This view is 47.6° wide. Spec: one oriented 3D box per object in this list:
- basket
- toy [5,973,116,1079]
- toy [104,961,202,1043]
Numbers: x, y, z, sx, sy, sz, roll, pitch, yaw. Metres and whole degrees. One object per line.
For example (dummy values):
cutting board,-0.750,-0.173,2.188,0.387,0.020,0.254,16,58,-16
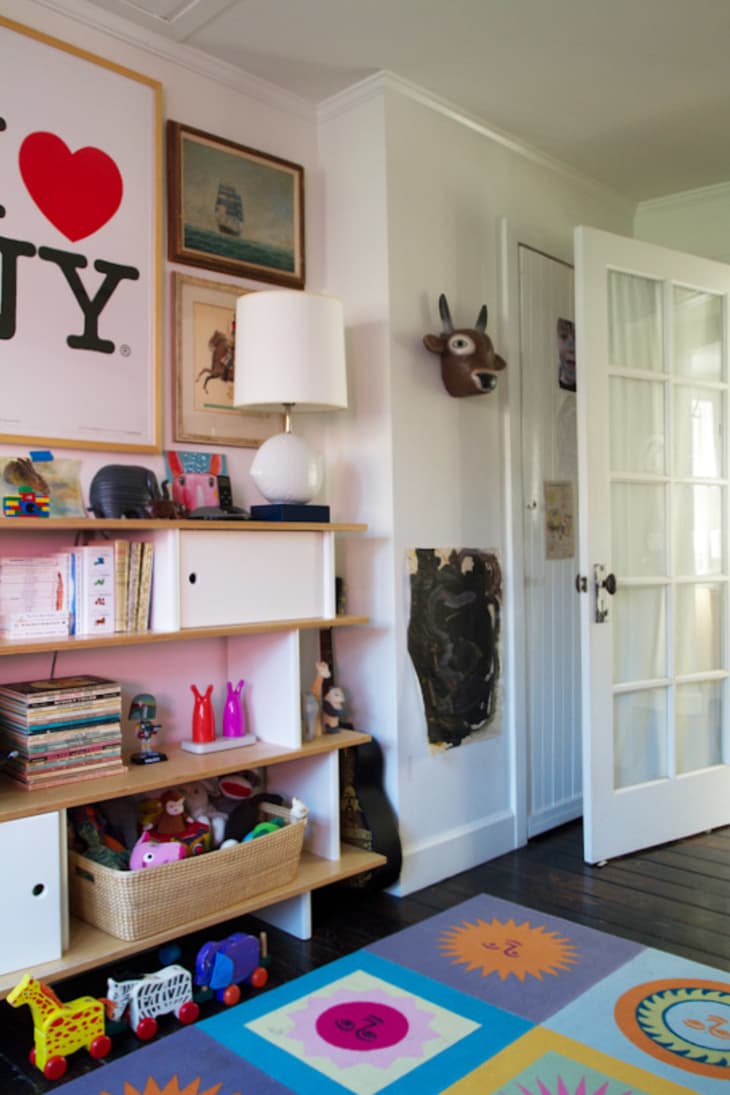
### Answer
basket,-0.392,0.674,1.774,0.208,0.107,0.315,-3,-1,39
toy,-0.548,0.838,1.497,0.168,0.186,0.178,1,-3,-17
toy,-0.412,0.866,1.615,0.093,0.127,0.193,-10,-13,43
